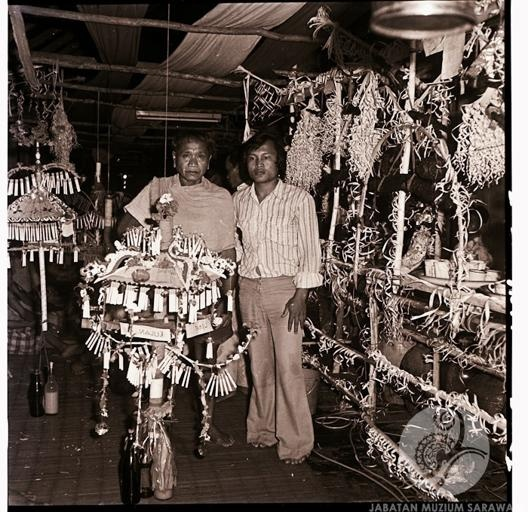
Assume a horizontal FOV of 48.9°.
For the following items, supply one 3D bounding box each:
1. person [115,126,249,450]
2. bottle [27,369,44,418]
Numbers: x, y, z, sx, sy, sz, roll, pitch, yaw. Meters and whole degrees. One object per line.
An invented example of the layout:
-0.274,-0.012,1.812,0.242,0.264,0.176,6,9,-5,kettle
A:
-0.499,0.222,3.447,0.650,1.837,1.497,1,8,-3,person
-1.545,0.918,3.920,0.094,0.277,0.164,-2,8,-22,bottle
